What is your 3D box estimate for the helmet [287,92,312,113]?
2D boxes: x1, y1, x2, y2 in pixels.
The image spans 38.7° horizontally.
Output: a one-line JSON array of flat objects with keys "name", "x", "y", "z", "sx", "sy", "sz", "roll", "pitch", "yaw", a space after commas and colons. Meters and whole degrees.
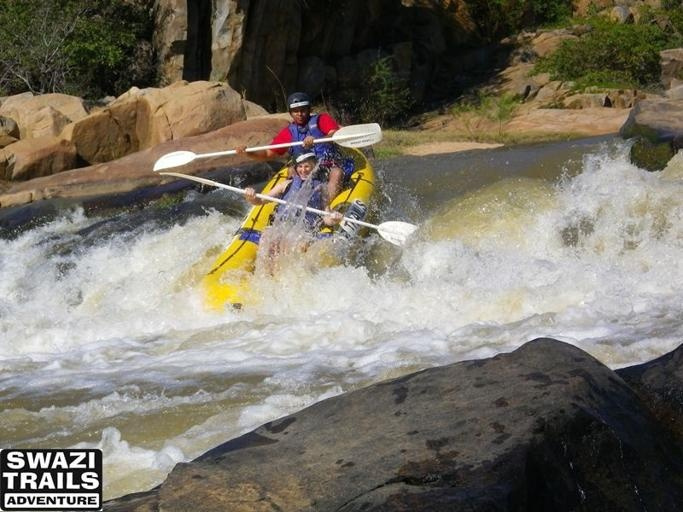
[{"name": "helmet", "x": -0.672, "y": -2.354, "z": 14.879, "sx": 0.260, "sy": 0.274, "sz": 0.350, "roll": -10, "pitch": 22, "yaw": 19}]

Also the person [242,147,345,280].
[{"name": "person", "x": -0.638, "y": -0.838, "z": 14.333, "sx": 1.012, "sy": 2.191, "sz": 0.702, "roll": 21, "pitch": -5, "yaw": 38}]

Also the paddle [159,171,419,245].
[{"name": "paddle", "x": -0.371, "y": -0.631, "z": 14.328, "sx": 2.907, "sy": 0.909, "sz": 0.528, "roll": 2, "pitch": 14, "yaw": 3}]

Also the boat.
[{"name": "boat", "x": -0.785, "y": -0.234, "z": 14.786, "sx": 1.398, "sy": 3.160, "sz": 0.810, "roll": 30, "pitch": -21, "yaw": 10}]
